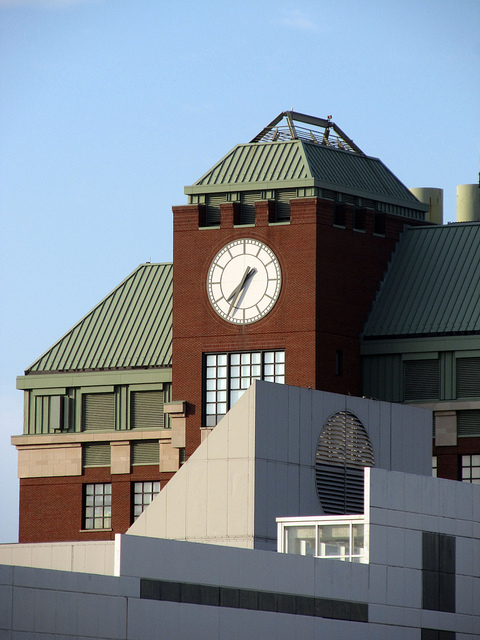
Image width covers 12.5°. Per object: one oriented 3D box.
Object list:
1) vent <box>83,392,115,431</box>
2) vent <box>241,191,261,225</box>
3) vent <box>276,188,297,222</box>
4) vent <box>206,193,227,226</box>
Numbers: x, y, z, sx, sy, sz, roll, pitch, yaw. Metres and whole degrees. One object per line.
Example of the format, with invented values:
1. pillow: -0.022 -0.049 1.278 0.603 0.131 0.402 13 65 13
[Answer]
1. vent: -5.752 3.851 90.282 1.042 1.625 0.148 -6 -14 33
2. vent: 0.464 -4.240 83.611 0.839 2.264 0.130 -3 -6 32
3. vent: 1.803 -4.311 82.955 0.878 2.202 0.179 -2 -4 35
4. vent: -0.864 -4.197 84.235 0.841 2.284 0.138 -1 -7 21
